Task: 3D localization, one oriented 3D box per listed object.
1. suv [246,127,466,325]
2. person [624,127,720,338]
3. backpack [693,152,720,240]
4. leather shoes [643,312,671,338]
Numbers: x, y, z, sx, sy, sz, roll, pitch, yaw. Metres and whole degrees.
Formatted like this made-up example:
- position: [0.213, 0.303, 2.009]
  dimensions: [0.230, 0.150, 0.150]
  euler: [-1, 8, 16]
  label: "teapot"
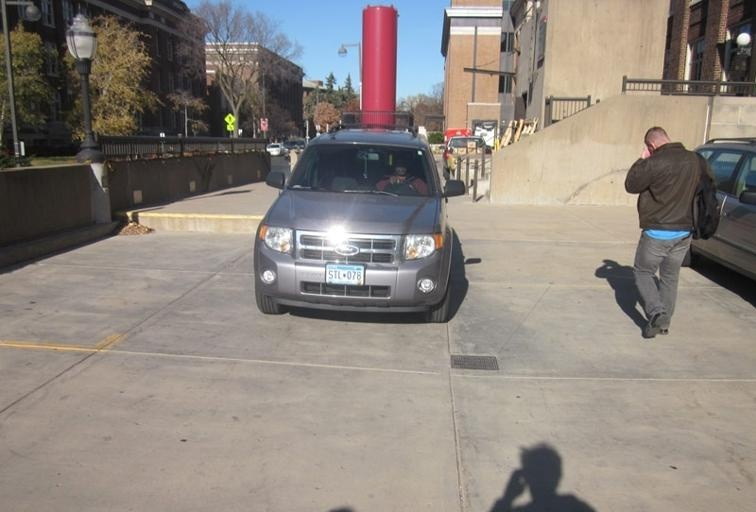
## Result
- position: [-0.143, -0.607, 7.877]
  dimensions: [1.854, 1.661, 3.118]
  euler: [2, 16, 6]
  label: "suv"
- position: [3.422, -0.271, 6.797]
  dimensions: [0.872, 2.441, 0.756]
  euler: [-7, 14, -31]
  label: "person"
- position: [3.825, -0.694, 6.697]
  dimensions: [0.304, 0.987, 0.364]
  euler: [8, 14, 30]
  label: "backpack"
- position: [3.291, 0.811, 6.772]
  dimensions: [0.181, 0.459, 0.229]
  euler: [5, 56, 4]
  label: "leather shoes"
